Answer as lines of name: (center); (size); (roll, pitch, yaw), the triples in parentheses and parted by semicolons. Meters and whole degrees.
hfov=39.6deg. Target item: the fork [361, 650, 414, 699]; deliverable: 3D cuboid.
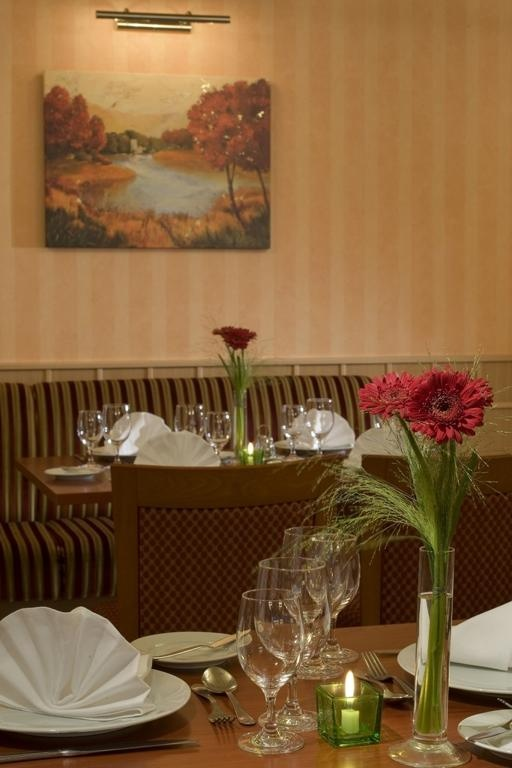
fork: (0.152, 0.349, 0.853); (0.020, 0.013, 0.086); (-3, 8, -13)

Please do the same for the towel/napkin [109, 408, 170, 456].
towel/napkin: (-0.468, 0.154, 2.840); (0.206, 0.083, 0.217); (4, 32, 9)

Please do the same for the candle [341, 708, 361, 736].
candle: (0.090, 0.322, 0.687); (0.023, 0.025, 0.023); (4, -9, -7)

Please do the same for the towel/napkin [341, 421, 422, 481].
towel/napkin: (0.278, 0.142, 1.726); (0.169, 0.078, 0.171); (-2, -1, -5)
